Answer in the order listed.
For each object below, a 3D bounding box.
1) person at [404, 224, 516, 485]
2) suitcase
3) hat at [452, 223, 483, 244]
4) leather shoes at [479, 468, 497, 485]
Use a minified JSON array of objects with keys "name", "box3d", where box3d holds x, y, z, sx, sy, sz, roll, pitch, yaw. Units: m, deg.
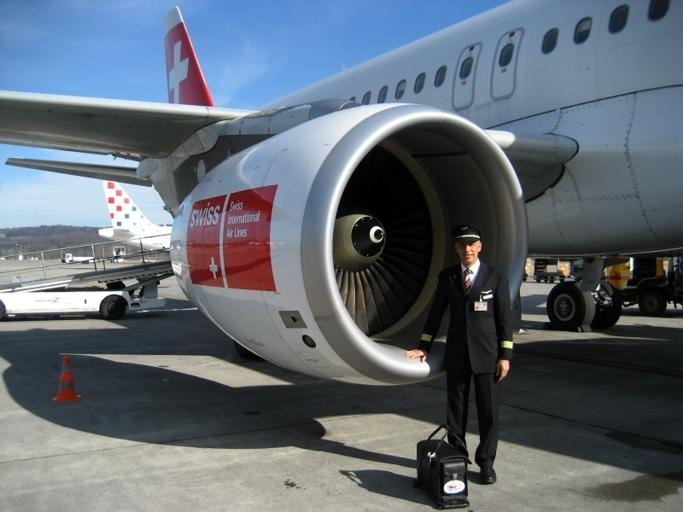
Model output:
[{"name":"person","box3d":[0.976,0.762,4.445,0.755,2.001,0.372,0,2,13]},{"name":"suitcase","box3d":[0.771,1.607,4.165,0.322,0.418,0.556,1,-4,-12]},{"name":"hat","box3d":[1.005,-0.176,4.434,0.209,0.142,0.139,0,2,8]},{"name":"leather shoes","box3d":[1.138,1.717,4.260,0.089,0.059,0.156,0,-8,0]}]
